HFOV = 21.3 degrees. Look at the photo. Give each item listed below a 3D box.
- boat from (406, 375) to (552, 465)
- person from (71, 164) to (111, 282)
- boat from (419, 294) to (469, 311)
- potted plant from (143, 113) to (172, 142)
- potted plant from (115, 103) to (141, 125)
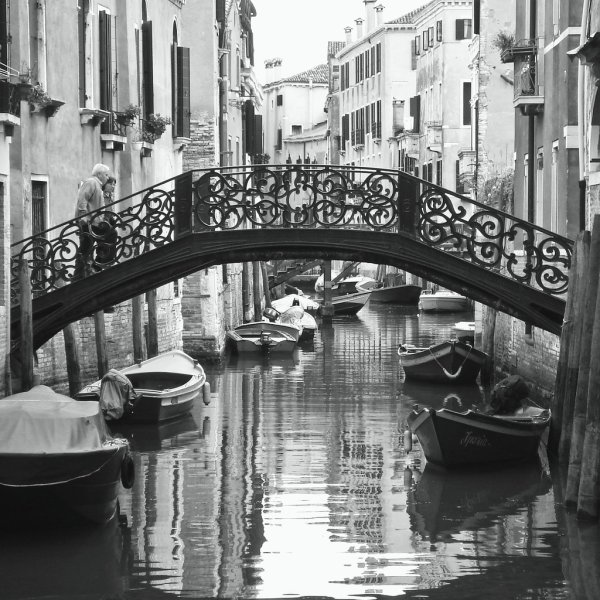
[{"bbox_3d":[2.774,1.855,23.422,1.095,1.070,2.082,2,3,37],"label":"boat"},{"bbox_3d":[-3.002,-1.077,23.033,0.528,0.687,1.875,3,43,-4],"label":"person"},{"bbox_3d":[4.992,0.130,55.092,1.615,0.829,1.827,2,7,4],"label":"boat"},{"bbox_3d":[-2.713,-3.278,30.412,0.365,0.545,1.240,3,7,14],"label":"potted plant"},{"bbox_3d":[-3.041,-3.234,27.951,0.282,0.213,0.413,-14,15,-27],"label":"potted plant"}]
